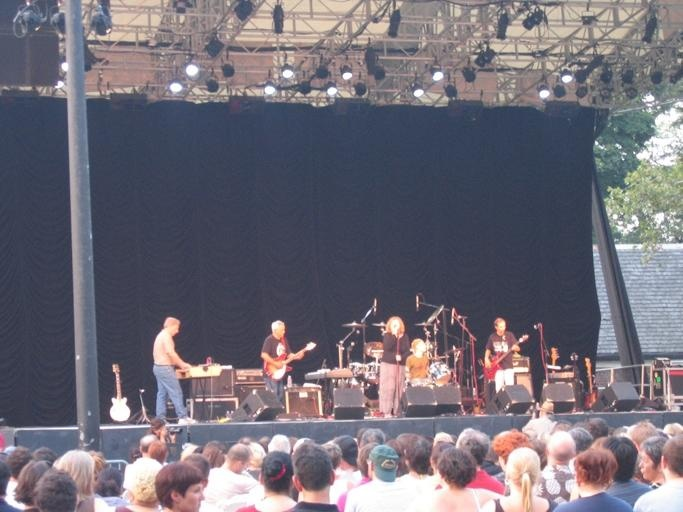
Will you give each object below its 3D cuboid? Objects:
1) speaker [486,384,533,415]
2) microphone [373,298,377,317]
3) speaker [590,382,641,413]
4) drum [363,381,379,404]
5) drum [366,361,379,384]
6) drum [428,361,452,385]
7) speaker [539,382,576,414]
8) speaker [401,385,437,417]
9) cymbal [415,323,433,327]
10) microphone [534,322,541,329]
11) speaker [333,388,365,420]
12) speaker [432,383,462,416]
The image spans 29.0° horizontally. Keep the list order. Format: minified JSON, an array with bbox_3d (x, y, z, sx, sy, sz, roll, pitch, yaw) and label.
[{"bbox_3d":[3.245,2.689,24.785,0.514,0.515,0.651,2,-8,-14],"label":"speaker"},{"bbox_3d":[0.750,1.122,29.597,0.076,0.363,0.097,3,1,-10],"label":"microphone"},{"bbox_3d":[5.199,2.600,24.985,0.875,0.511,0.634,-12,-36,5],"label":"speaker"},{"bbox_3d":[0.605,2.744,26.951,0.345,0.653,0.328,-3,0,0],"label":"drum"},{"bbox_3d":[0.632,2.369,27.038,0.324,0.633,0.344,-1,-4,0],"label":"drum"},{"bbox_3d":[1.944,2.279,26.023,0.376,0.424,0.402,-4,27,-1],"label":"drum"},{"bbox_3d":[4.105,2.665,25.009,0.523,0.599,0.564,0,-3,1],"label":"speaker"},{"bbox_3d":[1.414,2.666,24.382,0.516,0.577,0.523,3,4,-16],"label":"speaker"},{"bbox_3d":[1.769,1.509,29.191,0.213,0.238,0.054,0,1,8],"label":"cymbal"},{"bbox_3d":[4.397,1.567,29.847,0.104,0.162,0.205,-24,6,-22],"label":"microphone"},{"bbox_3d":[0.110,2.627,24.240,0.513,0.554,0.411,-2,-34,-18],"label":"speaker"},{"bbox_3d":[1.939,2.637,24.431,0.497,0.530,0.526,-1,-2,-15],"label":"speaker"}]
